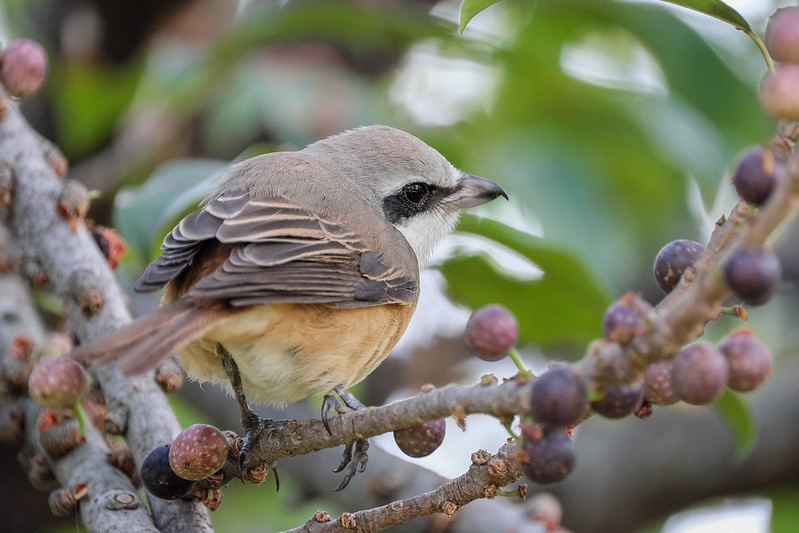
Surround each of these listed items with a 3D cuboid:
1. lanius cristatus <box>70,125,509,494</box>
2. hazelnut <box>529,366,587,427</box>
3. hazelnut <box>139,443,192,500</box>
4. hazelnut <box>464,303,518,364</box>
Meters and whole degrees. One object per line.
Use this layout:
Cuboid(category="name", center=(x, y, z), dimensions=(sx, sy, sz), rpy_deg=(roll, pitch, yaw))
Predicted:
Cuboid(category="lanius cristatus", center=(-0.497, 0.116, 4.574), dimensions=(1.402, 1.352, 2.315), rpy_deg=(24, 24, 10))
Cuboid(category="hazelnut", center=(0.526, 0.431, 3.028), dimensions=(0.179, 0.106, 0.193), rpy_deg=(-21, 76, -9))
Cuboid(category="hazelnut", center=(-0.993, 0.883, 3.772), dimensions=(0.195, 0.127, 0.232), rpy_deg=(-29, 86, -13))
Cuboid(category="hazelnut", center=(0.334, 0.249, 3.376), dimensions=(0.175, 0.193, 0.212), rpy_deg=(-1, 90, -1))
